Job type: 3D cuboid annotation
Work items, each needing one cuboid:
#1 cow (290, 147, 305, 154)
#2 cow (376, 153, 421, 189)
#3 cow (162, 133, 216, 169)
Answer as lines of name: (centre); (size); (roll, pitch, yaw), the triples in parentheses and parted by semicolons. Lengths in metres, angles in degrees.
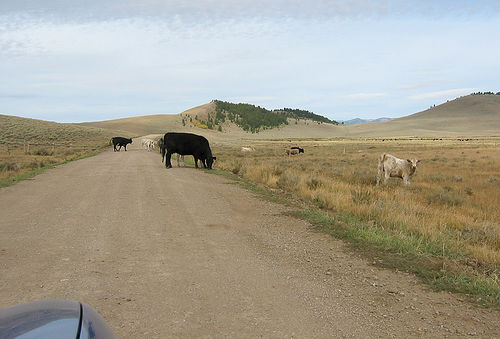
cow: (7.135, -2.981, 54.666); (1.397, 1.299, 0.376); (1, -14, -18)
cow: (8.308, 0.142, 21.346); (2.608, 1.774, 0.962); (6, -9, -26)
cow: (-4.458, -1.309, 27.067); (3.467, 2.529, 2.103); (1, 10, -8)
